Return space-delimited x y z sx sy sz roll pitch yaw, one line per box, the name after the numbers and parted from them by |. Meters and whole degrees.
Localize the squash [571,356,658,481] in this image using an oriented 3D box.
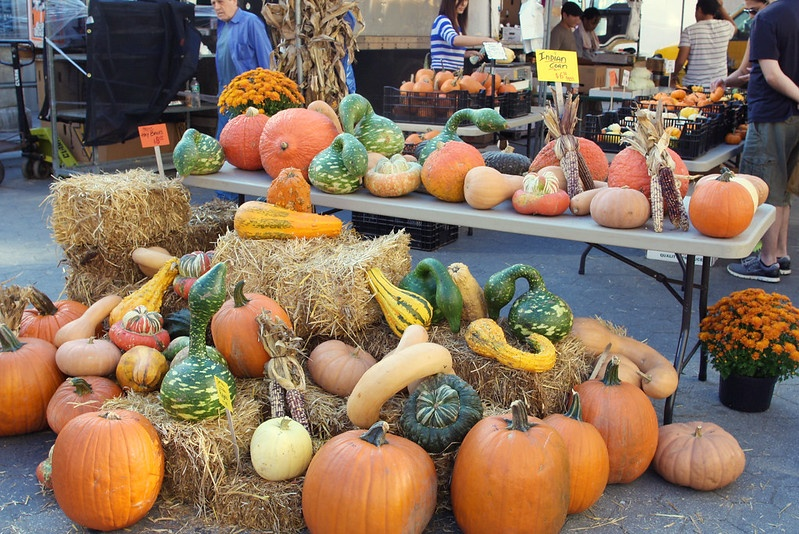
1.227 0.883 3.866 0.576 0.661 0.506 -4 -8 -2 | squash

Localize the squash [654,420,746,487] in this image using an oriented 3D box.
1.705 1.058 3.622 0.389 0.302 0.382 -19 19 -35 | squash

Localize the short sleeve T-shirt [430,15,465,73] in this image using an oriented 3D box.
0.595 -2.589 7.547 0.403 0.720 0.709 4 6 6 | short sleeve T-shirt

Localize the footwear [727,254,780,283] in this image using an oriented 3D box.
3.339 0.037 6.088 0.518 0.253 0.201 14 15 32 | footwear

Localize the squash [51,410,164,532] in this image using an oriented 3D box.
-1.475 1.029 3.547 0.573 0.712 0.584 3 1 11 | squash

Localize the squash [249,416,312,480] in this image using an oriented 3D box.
-0.624 0.953 3.510 0.300 0.322 0.300 7 7 40 | squash
